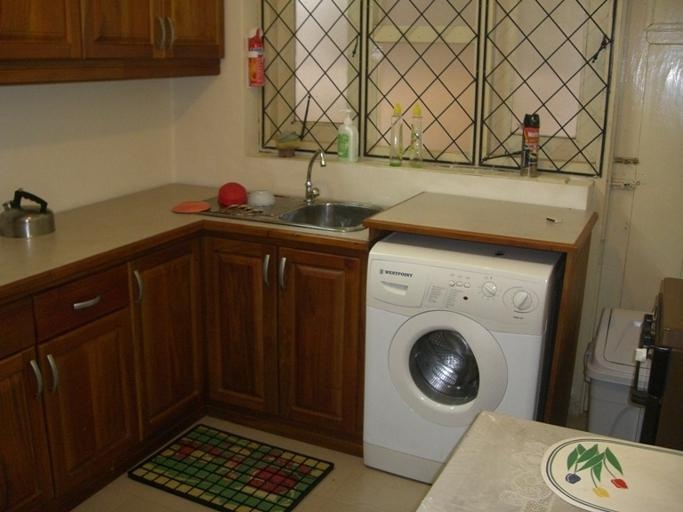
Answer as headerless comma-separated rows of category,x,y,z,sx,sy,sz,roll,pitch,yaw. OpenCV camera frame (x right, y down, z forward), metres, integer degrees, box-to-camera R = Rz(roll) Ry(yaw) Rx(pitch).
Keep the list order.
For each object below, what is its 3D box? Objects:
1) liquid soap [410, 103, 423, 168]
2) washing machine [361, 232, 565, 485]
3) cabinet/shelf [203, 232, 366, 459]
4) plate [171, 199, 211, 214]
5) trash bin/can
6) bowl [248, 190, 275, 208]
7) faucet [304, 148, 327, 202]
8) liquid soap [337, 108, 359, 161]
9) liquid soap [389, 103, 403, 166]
liquid soap,0.406,-0.642,2.926,0.080,0.293,0.210,5,16,7
washing machine,0.459,0.322,2.034,0.698,1.111,0.586,11,21,28
cabinet/shelf,-0.244,0.397,2.601,0.763,0.993,0.456,8,17,23
plate,-0.746,-0.240,2.754,0.186,0.034,0.150,0,18,-12
trash bin/can,1.160,0.503,2.345,0.242,0.414,0.460,11,18,26
bowl,-0.413,-0.308,2.859,0.095,0.045,0.101,0,13,0
faucet,-0.133,-0.439,2.948,0.111,0.270,0.296,2,17,-4
liquid soap,0.056,-0.651,2.988,0.151,0.265,0.129,-4,17,-23
liquid soap,0.299,-0.640,2.955,0.078,0.283,0.199,4,16,5
